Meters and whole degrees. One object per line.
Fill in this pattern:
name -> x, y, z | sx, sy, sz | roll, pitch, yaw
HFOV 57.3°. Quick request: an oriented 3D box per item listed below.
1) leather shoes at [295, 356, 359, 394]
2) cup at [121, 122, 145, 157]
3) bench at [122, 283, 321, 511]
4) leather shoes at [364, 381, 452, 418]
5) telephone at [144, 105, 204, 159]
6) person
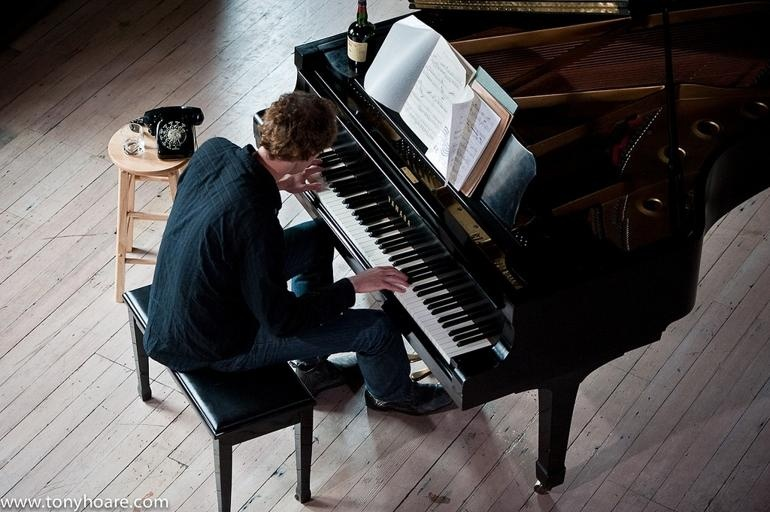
leather shoes -> -0.326, 0.661, 3.869 | 0.303, 0.202, 0.100 | -19, 55, -16
cup -> -1.457, -0.685, 4.112 | 0.119, 0.167, 0.191 | -1, 24, -4
bench -> -0.769, 0.702, 3.380 | 0.402, 0.607, 0.953 | -25, 53, -29
leather shoes -> 0.085, 0.790, 3.810 | 0.535, 0.212, 0.186 | -1, 49, -1
telephone -> -1.199, -0.735, 4.069 | 0.345, 0.156, 0.343 | -14, 69, -15
person -> -0.376, 0.085, 3.503 | 1.536, 1.758, 1.084 | -4, 36, -7
